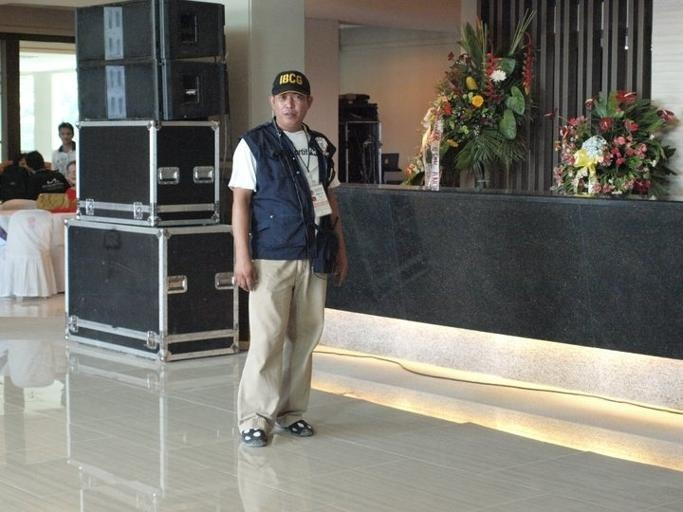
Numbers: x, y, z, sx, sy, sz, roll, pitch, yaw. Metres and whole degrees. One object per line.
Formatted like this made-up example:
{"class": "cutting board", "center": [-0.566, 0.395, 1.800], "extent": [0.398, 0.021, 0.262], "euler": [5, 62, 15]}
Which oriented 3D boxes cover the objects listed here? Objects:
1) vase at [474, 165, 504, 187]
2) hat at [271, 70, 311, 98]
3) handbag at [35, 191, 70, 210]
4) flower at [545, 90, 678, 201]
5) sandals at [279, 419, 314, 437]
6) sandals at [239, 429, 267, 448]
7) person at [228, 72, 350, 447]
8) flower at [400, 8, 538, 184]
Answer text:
{"class": "vase", "center": [1.543, -0.846, 6.731], "extent": [0.246, 0.262, 0.424], "euler": [1, 1, 23]}
{"class": "hat", "center": [-0.262, -0.880, 3.271], "extent": [0.191, 0.142, 0.220], "euler": [-1, 7, -7]}
{"class": "handbag", "center": [-3.598, -0.672, 7.973], "extent": [0.381, 0.191, 0.400], "euler": [-4, 8, -26]}
{"class": "flower", "center": [2.207, -0.905, 5.039], "extent": [1.006, 0.803, 0.767], "euler": [-2, 7, -14]}
{"class": "sandals", "center": [-0.221, 0.900, 3.385], "extent": [0.144, 0.057, 0.081], "euler": [-1, 4, 34]}
{"class": "sandals", "center": [-0.435, 0.911, 3.204], "extent": [0.108, 0.035, 0.073], "euler": [-7, -41, 23]}
{"class": "person", "center": [-0.261, 0.002, 3.319], "extent": [0.605, 1.875, 0.357], "euler": [-2, 6, -17]}
{"class": "flower", "center": [1.308, -1.598, 6.252], "extent": [1.035, 1.855, 2.590], "euler": [2, 7, 19]}
